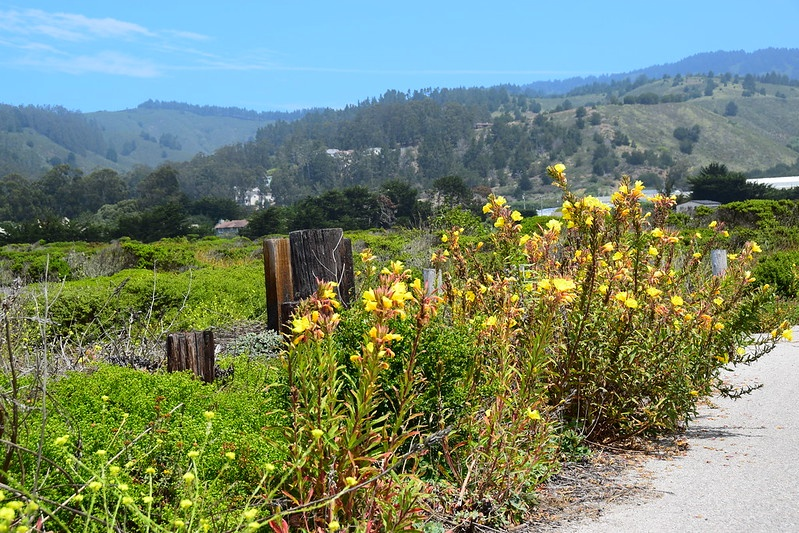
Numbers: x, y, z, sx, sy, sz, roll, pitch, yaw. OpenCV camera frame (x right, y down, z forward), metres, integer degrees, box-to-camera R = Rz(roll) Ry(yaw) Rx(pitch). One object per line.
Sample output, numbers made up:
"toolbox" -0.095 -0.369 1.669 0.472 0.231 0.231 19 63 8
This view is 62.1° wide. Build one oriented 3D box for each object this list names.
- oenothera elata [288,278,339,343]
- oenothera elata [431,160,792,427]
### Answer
"oenothera elata" -0.539 0.282 4.125 0.293 0.417 0.414 -2 11 -10
"oenothera elata" 2.047 0.330 5.813 2.198 2.459 2.580 7 13 34
